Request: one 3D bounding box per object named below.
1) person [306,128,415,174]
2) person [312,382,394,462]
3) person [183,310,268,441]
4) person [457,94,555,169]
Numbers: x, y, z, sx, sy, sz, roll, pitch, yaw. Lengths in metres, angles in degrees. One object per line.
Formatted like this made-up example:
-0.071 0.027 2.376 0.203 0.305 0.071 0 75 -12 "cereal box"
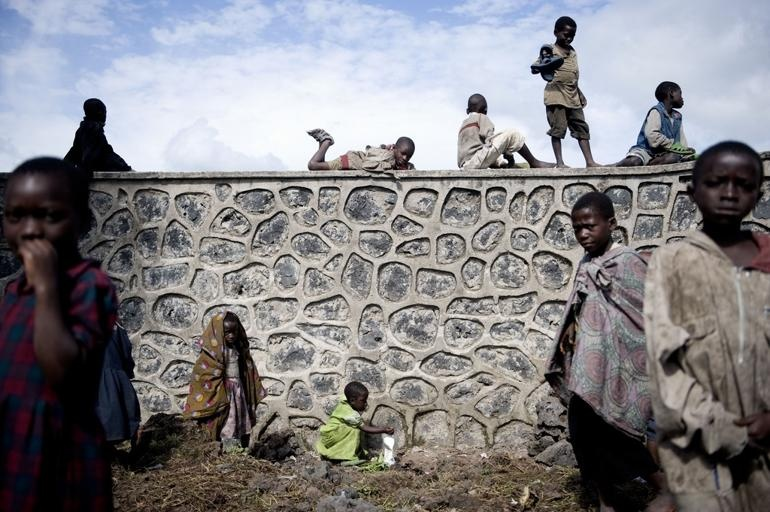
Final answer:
-0.258 -1.081 8.775 1.080 0.444 0.465 0 4 0 "person"
-0.319 1.612 8.449 0.740 0.715 0.731 1 6 -11 "person"
-1.581 1.160 8.330 0.379 1.257 0.758 3 5 39 "person"
1.269 -1.308 9.160 0.962 0.785 0.702 1 -1 -5 "person"
